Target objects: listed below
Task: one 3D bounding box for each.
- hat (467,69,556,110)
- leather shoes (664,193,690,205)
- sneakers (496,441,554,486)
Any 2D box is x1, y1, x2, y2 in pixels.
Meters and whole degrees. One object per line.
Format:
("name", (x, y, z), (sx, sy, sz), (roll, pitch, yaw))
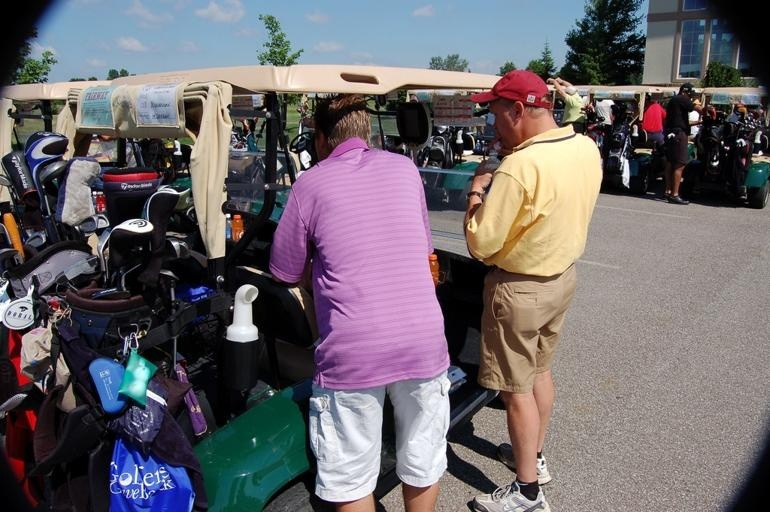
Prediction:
("hat", (0.783, -1.033, 3.114), (0.307, 0.240, 0.493), (-14, 29, -43))
("leather shoes", (6.176, -1.220, 10.905), (0.458, 0.191, 0.194), (1, 11, 15))
("sneakers", (0.953, 1.399, 3.629), (0.167, 0.217, 0.459), (-2, 12, -36))
